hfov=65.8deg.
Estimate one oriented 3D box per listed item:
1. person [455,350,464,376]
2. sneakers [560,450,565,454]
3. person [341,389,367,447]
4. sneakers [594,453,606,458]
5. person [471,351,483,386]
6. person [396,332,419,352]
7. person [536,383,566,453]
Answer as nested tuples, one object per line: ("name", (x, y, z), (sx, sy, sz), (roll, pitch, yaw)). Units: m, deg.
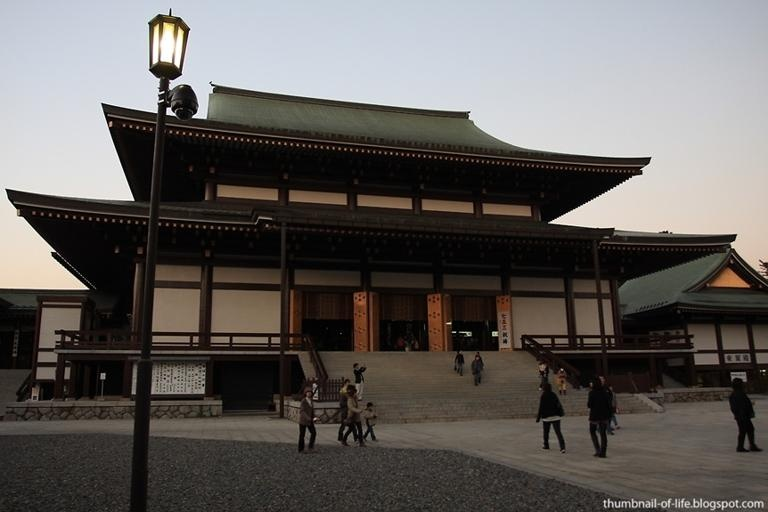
("person", (3.485, 4.993, 27.670), (0.400, 1.127, 0.630), (-3, -14, 4))
("sneakers", (4.950, 5.439, 16.508), (0.058, 0.060, 0.159), (3, -20, -6))
("person", (-0.985, 4.934, 18.439), (0.712, 1.807, 1.121), (-1, -14, -4))
("sneakers", (5.773, 5.350, 15.945), (0.269, 0.112, 0.243), (-4, -14, 10))
("person", (4.225, 5.173, 27.179), (0.513, 1.514, 1.652), (-4, -14, 7))
("person", (1.326, 5.049, 34.635), (1.063, 1.074, 1.094), (17, -25, -34))
("person", (4.747, 4.597, 17.031), (0.750, 1.935, 0.840), (-9, -16, 27))
